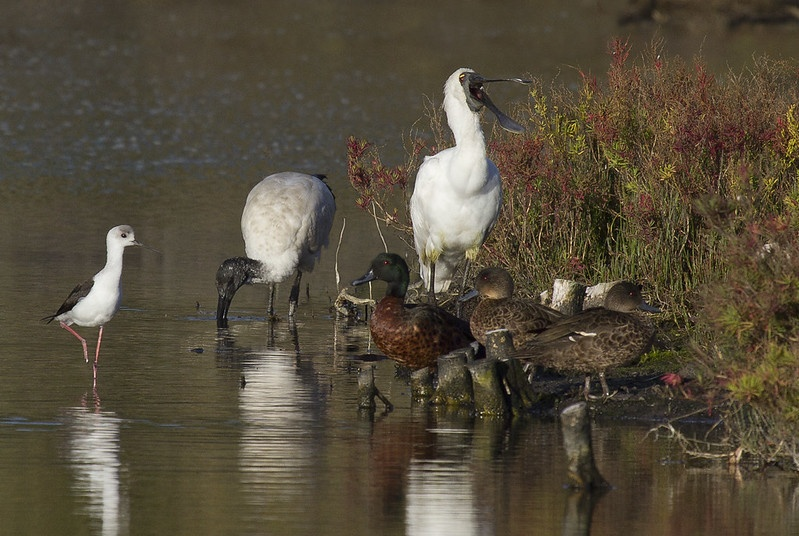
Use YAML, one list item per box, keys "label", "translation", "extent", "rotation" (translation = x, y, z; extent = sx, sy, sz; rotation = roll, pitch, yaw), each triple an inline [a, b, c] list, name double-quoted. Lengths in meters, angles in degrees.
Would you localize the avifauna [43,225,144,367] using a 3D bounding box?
- label: "avifauna"
  translation: [-3.974, 0.400, 15.289]
  extent: [0.986, 1.871, 1.335]
  rotation: [0, 12, -7]
